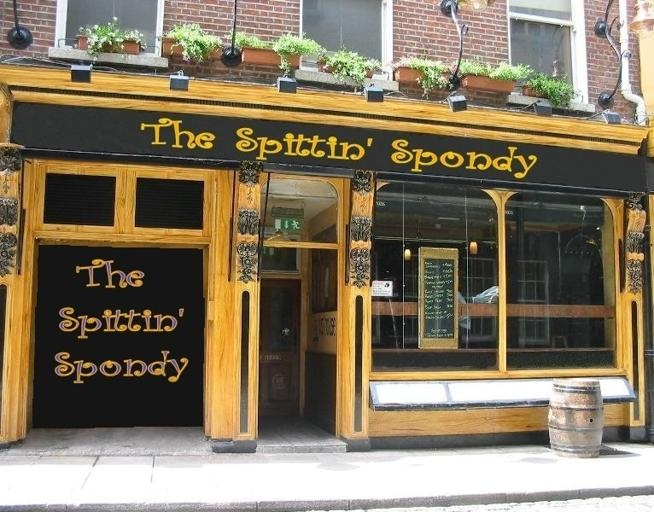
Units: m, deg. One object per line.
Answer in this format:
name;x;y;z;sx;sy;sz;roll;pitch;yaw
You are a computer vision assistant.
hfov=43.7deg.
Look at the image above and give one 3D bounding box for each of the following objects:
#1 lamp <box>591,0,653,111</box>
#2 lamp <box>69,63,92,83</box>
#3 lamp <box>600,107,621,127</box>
lamp;4.748;-3.315;13.042;0.905;2.010;2.138;4;4;17
lamp;-3.412;-2.518;11.259;0.289;0.233;0.261;0;20;-11
lamp;4.516;-2.229;13.033;0.368;0.225;0.212;1;4;-27
